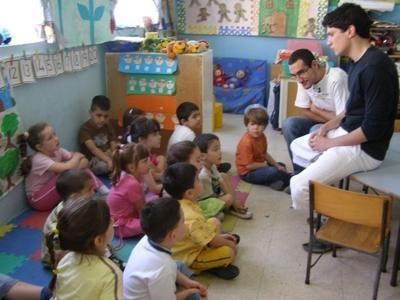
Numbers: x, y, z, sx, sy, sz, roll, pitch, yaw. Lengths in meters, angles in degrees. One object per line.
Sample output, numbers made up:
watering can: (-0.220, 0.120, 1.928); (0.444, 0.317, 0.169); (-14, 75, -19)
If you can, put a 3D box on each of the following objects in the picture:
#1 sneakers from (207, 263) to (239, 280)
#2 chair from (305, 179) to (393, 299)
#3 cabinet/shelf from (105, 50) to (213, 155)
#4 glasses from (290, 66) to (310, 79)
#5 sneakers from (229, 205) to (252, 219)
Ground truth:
sneakers: (0.137, 0.714, 1.987); (0.155, 0.109, 0.076); (6, 13, 20)
chair: (0.872, 0.551, 1.888); (0.434, 0.636, 0.406); (11, 36, 26)
cabinet/shelf: (-0.469, -0.672, 3.615); (1.039, 0.944, 0.571); (1, 38, 3)
glasses: (0.848, -0.670, 2.718); (0.110, 0.054, 0.103); (-48, 18, -23)
sneakers: (0.326, 0.483, 2.586); (0.195, 0.081, 0.070); (6, 15, 22)
